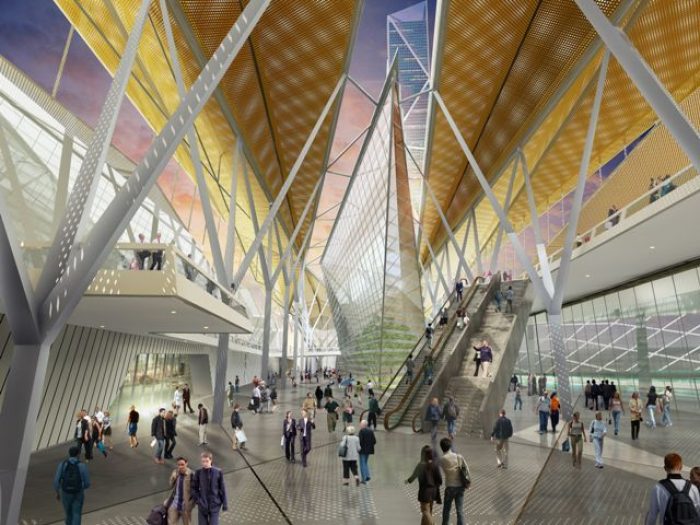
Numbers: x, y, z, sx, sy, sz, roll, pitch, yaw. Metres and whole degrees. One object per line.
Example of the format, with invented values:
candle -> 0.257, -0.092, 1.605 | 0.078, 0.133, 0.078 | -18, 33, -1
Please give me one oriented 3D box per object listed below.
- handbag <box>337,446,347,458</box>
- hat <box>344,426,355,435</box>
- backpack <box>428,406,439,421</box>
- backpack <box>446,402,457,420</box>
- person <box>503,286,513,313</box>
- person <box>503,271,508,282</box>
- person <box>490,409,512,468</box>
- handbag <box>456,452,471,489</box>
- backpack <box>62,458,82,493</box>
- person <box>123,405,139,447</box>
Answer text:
handbag -> -0.163, 4.530, 9.652 | 0.199, 0.300, 0.291 | 4, -18, -3
hat -> -0.012, 4.081, 9.809 | 0.234, 0.322, 0.292 | 1, -3, 5
backpack -> 3.213, 5.731, 15.310 | 0.446, 0.509, 0.274 | -6, -21, 27
backpack -> 3.777, 5.516, 15.011 | 0.451, 0.828, 0.449 | -1, -17, 13
person -> 9.332, 2.134, 23.435 | 0.405, 1.545, 0.814 | -5, -18, 25
person -> 12.979, 1.130, 33.469 | 0.119, 1.377, 0.561 | 1, -5, -11
person -> 4.343, 4.978, 11.455 | 0.487, 1.490, 1.491 | -3, -19, 19
handbag -> 2.070, 3.750, 7.230 | 0.164, 0.520, 0.736 | -2, -19, 17
backpack -> -4.740, 3.602, 6.780 | 0.379, 0.493, 0.189 | 2, -16, 2
person -> -8.157, 6.084, 15.112 | 0.486, 1.396, 1.890 | 11, -20, -26
